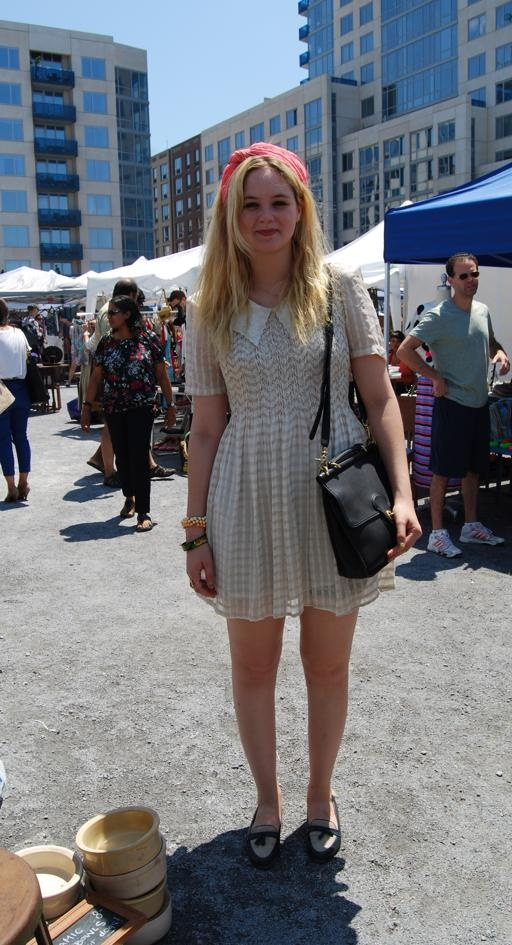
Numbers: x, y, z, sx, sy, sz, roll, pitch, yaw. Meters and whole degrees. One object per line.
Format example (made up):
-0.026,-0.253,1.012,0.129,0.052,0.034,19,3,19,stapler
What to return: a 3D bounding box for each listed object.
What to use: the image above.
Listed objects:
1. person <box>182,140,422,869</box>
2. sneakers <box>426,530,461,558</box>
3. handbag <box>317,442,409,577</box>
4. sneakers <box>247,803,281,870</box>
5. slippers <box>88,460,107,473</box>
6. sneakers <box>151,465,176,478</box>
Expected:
0.109,0.143,1.736,0.591,1.867,0.329,1,7,15,person
1.346,0.526,4.916,0.104,0.158,0.269,-6,13,-28,sneakers
0.239,0.088,1.574,0.098,0.251,0.209,-10,14,42,handbag
0.025,1.020,1.947,0.089,0.070,0.271,-1,6,3,sneakers
-1.949,-0.075,8.268,0.111,0.146,0.339,9,7,-30,slippers
-1.130,0.015,8.266,0.275,0.145,0.119,-6,44,-13,sneakers
